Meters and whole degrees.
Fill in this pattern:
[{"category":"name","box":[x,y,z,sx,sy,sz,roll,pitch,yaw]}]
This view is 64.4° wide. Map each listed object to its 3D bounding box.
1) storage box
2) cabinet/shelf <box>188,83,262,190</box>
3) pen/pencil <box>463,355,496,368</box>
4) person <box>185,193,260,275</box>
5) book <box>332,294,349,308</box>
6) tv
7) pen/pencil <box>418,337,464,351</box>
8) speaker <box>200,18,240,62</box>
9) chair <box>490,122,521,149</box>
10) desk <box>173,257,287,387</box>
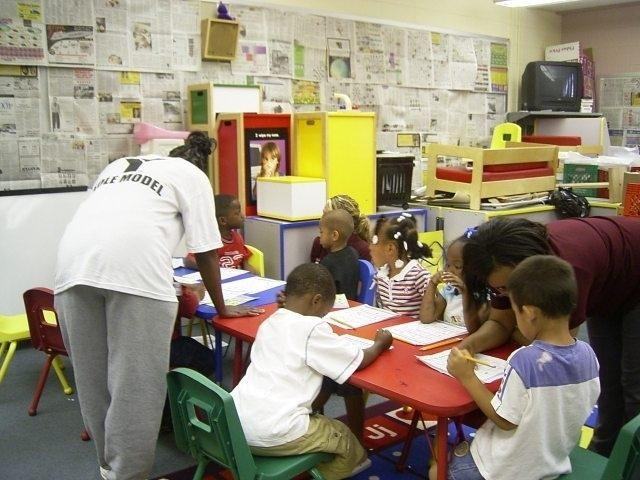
[{"category":"storage box","box":[-0.207,-0.426,3.818,0.333,0.321,0.493,-11,15,-42]},{"category":"cabinet/shelf","box":[-0.786,-0.823,4.448,0.567,1.050,0.384,-14,17,-39]},{"category":"pen/pencil","box":[0.531,0.405,1.694,0.020,0.021,0.189,-13,-25,42]},{"category":"person","box":[-0.601,0.145,3.341,0.373,0.891,0.275,-6,8,-36]},{"category":"book","box":[0.109,0.300,2.451,0.063,0.023,0.096,2,24,0]},{"category":"tv","box":[2.895,-1.863,6.413,0.622,0.555,0.424,0,2,-14]},{"category":"pen/pencil","box":[0.453,0.390,1.915,0.165,0.018,0.017,-14,22,-27]},{"category":"speaker","box":[-0.906,-1.788,4.521,0.201,0.319,0.340,26,27,38]},{"category":"chair","box":[2.046,-1.154,5.587,0.230,0.261,0.489,1,12,10]},{"category":"desk","box":[-0.372,0.379,2.301,0.393,0.304,0.629,6,10,32]}]
